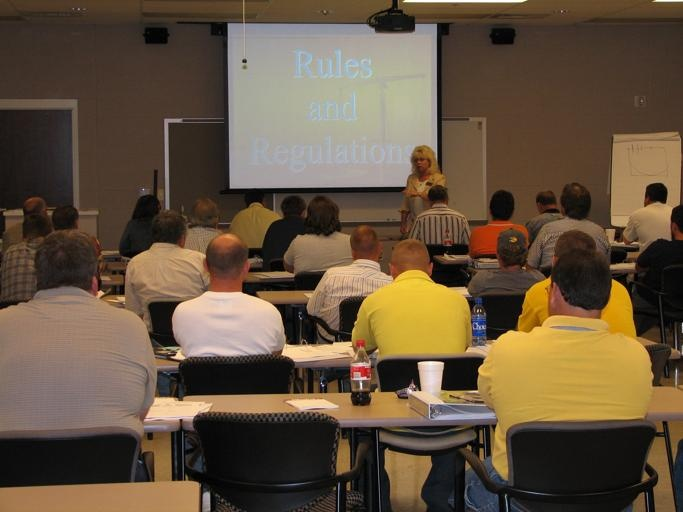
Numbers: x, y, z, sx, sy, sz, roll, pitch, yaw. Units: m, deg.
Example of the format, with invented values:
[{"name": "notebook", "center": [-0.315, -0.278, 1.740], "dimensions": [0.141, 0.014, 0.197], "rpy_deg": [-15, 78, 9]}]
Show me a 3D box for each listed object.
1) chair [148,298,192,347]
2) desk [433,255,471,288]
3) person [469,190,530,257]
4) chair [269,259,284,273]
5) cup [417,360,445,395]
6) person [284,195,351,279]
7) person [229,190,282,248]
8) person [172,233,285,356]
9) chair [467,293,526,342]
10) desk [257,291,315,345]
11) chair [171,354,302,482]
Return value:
[{"name": "chair", "center": [-1.080, 0.432, 5.078], "dimensions": [0.227, 0.365, 0.281], "rpy_deg": [0, 5, -7]}, {"name": "desk", "center": [1.072, 0.160, 7.548], "dimensions": [0.395, 0.411, 0.287], "rpy_deg": [0, 0, -15]}, {"name": "person", "center": [1.495, -0.304, 7.306], "dimensions": [0.501, 0.738, 0.385], "rpy_deg": [-4, 35, 1]}, {"name": "chair", "center": [-0.610, 0.088, 7.313], "dimensions": [0.117, 0.187, 0.117], "rpy_deg": [0, 4, -13]}, {"name": "cup", "center": [0.411, 0.556, 3.569], "dimensions": [0.130, 0.161, 0.138], "rpy_deg": [-2, 0, 0]}, {"name": "person", "center": [-0.182, -0.129, 6.566], "dimensions": [0.608, 1.047, 0.591], "rpy_deg": [2, 21, 0]}, {"name": "person", "center": [-0.910, -0.299, 8.385], "dimensions": [0.427, 0.855, 0.394], "rpy_deg": [0, 25, 0]}, {"name": "person", "center": [-0.579, 0.314, 4.078], "dimensions": [0.590, 0.890, 0.453], "rpy_deg": [-2, 20, -13]}, {"name": "chair", "center": [1.045, 0.410, 5.253], "dimensions": [0.249, 0.395, 0.284], "rpy_deg": [0, 7, 0]}, {"name": "desk", "center": [-0.441, 0.462, 6.101], "dimensions": [0.472, 0.504, 0.499], "rpy_deg": [-1, 1, -5]}, {"name": "chair", "center": [-0.486, 0.738, 3.819], "dimensions": [0.483, 0.729, 0.503], "rpy_deg": [0, 5, -9]}]
